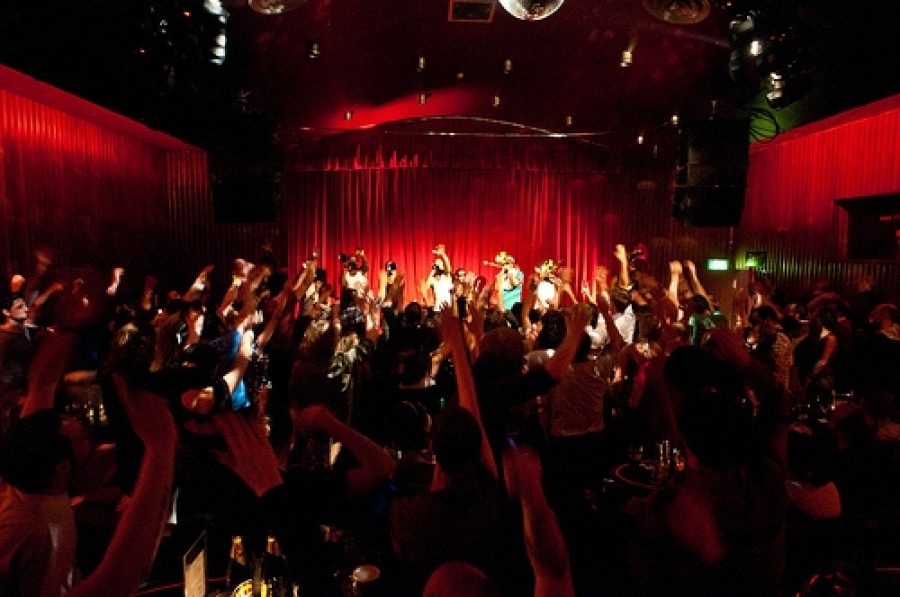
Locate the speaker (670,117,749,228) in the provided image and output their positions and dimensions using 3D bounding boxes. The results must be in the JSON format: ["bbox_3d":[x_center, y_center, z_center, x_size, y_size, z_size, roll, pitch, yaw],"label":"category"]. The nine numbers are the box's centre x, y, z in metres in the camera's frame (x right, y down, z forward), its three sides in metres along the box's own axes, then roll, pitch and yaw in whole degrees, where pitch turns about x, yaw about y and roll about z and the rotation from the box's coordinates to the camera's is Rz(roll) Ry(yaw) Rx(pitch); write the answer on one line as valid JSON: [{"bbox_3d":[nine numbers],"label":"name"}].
[{"bbox_3d":[3.507,-1.672,8.279,0.827,1.375,0.380,1,-2,-4],"label":"speaker"}]

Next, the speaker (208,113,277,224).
[{"bbox_3d":[-3.238,-2.024,9.859,1.078,1.468,1.176,1,-2,-21],"label":"speaker"}]

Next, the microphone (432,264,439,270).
[{"bbox_3d":[-0.245,-0.539,10.434,0.083,0.066,0.083,-2,-11,15],"label":"microphone"}]
